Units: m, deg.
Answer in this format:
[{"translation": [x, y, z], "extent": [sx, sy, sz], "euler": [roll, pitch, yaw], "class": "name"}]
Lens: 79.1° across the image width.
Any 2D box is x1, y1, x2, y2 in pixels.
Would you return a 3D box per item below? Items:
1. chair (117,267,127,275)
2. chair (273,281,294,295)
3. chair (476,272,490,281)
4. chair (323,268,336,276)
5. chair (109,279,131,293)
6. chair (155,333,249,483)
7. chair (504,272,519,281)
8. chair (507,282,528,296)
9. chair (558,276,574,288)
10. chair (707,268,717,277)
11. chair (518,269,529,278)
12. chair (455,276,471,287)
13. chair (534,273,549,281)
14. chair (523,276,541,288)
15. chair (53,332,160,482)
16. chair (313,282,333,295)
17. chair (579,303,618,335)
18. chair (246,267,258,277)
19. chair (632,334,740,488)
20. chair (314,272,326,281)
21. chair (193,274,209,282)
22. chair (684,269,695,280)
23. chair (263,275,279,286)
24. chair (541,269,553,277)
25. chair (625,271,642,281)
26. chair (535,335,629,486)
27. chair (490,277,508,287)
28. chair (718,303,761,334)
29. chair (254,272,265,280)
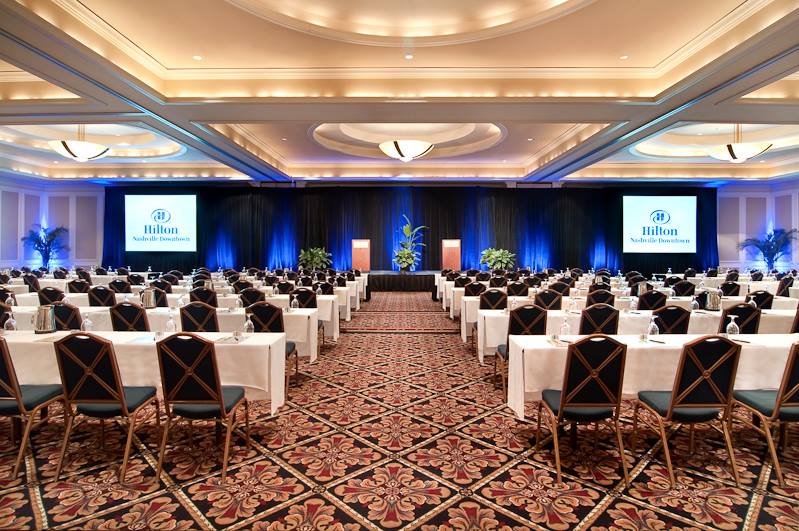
[{"translation": [-7.454, 0.161, 13.039], "extent": [0.236, 0.239, 0.243], "euler": [1, -2, -32], "class": "chair"}, {"translation": [-2.194, 0.438, 9.304], "extent": [0.388, 0.179, 0.332], "euler": [0, -3, -8], "class": "chair"}, {"translation": [2.131, 0.297, 12.313], "extent": [0.314, 0.143, 0.268], "euler": [0, -3, 2], "class": "chair"}, {"translation": [-1.772, 0.187, 12.670], "extent": [0.407, 0.285, 0.351], "euler": [1, 1, -12], "class": "chair"}, {"translation": [-5.493, 0.415, 9.535], "extent": [0.308, 0.295, 0.273], "euler": [3, 5, 32], "class": "chair"}, {"translation": [-2.088, 1.404, 5.181], "extent": [0.878, 1.466, 0.794], "euler": [-1, 1, -7], "class": "chair"}, {"translation": [2.730, 0.271, 11.705], "extent": [0.399, 0.157, 0.441], "euler": [0, -1, 3], "class": "chair"}, {"translation": [2.253, 0.463, 9.291], "extent": [0.354, 0.165, 0.308], "euler": [-1, -3, 5], "class": "chair"}, {"translation": [3.473, 0.345, 10.061], "extent": [0.331, 0.148, 0.286], "euler": [-1, 4, 1], "class": "chair"}, {"translation": [8.425, 0.190, 13.096], "extent": [0.263, 0.103, 0.226], "euler": [-7, 11, -5], "class": "chair"}, {"translation": [3.224, 0.217, 12.594], "extent": [0.248, 0.118, 0.221], "euler": [-2, 5, -2], "class": "chair"}, {"translation": [1.390, 0.362, 10.614], "extent": [0.293, 0.135, 0.249], "euler": [0, -3, -2], "class": "chair"}, {"translation": [3.419, 0.263, 11.632], "extent": [0.375, 0.173, 0.310], "euler": [-1, -3, 6], "class": "chair"}, {"translation": [2.799, 0.359, 10.220], "extent": [0.342, 0.161, 0.294], "euler": [-2, 4, 2], "class": "chair"}, {"translation": [-3.041, 1.411, 5.043], "extent": [0.739, 1.486, 0.474], "euler": [-1, 1, 3], "class": "chair"}, {"translation": [-1.427, 0.444, 9.247], "extent": [0.498, 0.353, 0.240], "euler": [1, -3, -12], "class": "chair"}, {"translation": [2.670, 0.727, 6.493], "extent": [0.492, 0.392, 0.227], "euler": [0, 1, 13], "class": "chair"}, {"translation": [-3.979, 0.183, 13.123], "extent": [0.424, 0.153, 0.360], "euler": [0, 8, -1], "class": "chair"}, {"translation": [2.977, 1.444, 5.002], "extent": [0.776, 1.506, 0.461], "euler": [-1, 1, -8], "class": "chair"}, {"translation": [-1.865, 0.267, 11.477], "extent": [0.257, 0.129, 0.231], "euler": [-1, 4, -7], "class": "chair"}, {"translation": [-4.766, 0.304, 11.682], "extent": [0.272, 0.090, 0.327], "euler": [1, 2, -2], "class": "chair"}, {"translation": [7.593, 0.247, 12.703], "extent": [0.300, 0.220, 0.261], "euler": [3, 9, 19], "class": "chair"}, {"translation": [-2.810, 0.355, 10.706], "extent": [0.383, 0.191, 0.308], "euler": [1, -3, -19], "class": "chair"}, {"translation": [4.172, 0.209, 13.689], "extent": [0.310, 0.397, 0.256], "euler": [1, 1, 3], "class": "chair"}, {"translation": [6.069, 0.270, 12.593], "extent": [0.291, 0.265, 0.239], "euler": [-1, 5, -3], "class": "chair"}, {"translation": [1.899, 1.439, 4.961], "extent": [0.768, 1.484, 0.375], "euler": [-1, 2, 0], "class": "chair"}, {"translation": [2.071, 0.354, 10.146], "extent": [0.287, 0.130, 0.246], "euler": [-1, 3, 6], "class": "chair"}, {"translation": [4.567, 0.727, 6.540], "extent": [0.652, 0.398, 0.280], "euler": [-1, 1, -29], "class": "chair"}, {"translation": [-3.599, 0.270, 12.516], "extent": [0.309, 0.169, 0.272], "euler": [1, -1, -18], "class": "chair"}]
